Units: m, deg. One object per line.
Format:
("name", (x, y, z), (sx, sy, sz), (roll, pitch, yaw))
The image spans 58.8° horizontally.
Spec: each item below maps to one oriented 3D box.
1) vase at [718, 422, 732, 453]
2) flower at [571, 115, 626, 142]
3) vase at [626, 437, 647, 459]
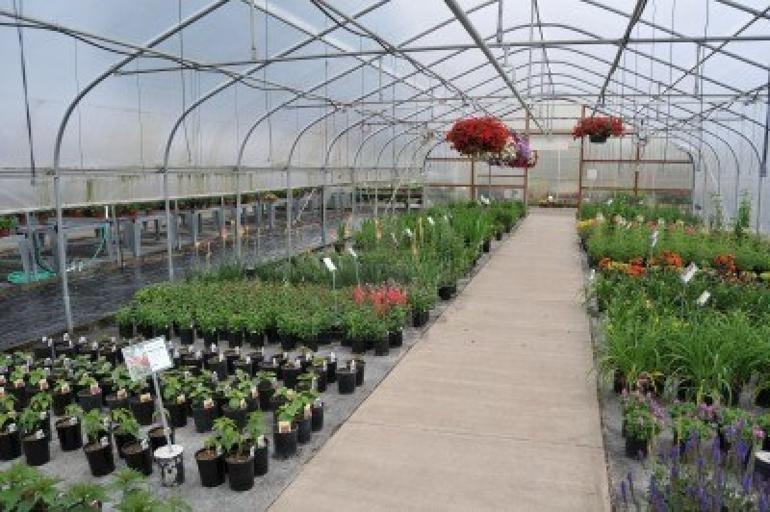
("vase", (3.757, 2.009, 7.556), (0.120, 0.281, 0.221), (-2, 6, 6))
("flower", (5.156, -3.040, 16.357), (0.811, 0.538, 0.836), (2, 16, 17))
("vase", (2.837, 2.142, 7.663), (0.217, 0.221, 0.219), (-4, 25, 0))
